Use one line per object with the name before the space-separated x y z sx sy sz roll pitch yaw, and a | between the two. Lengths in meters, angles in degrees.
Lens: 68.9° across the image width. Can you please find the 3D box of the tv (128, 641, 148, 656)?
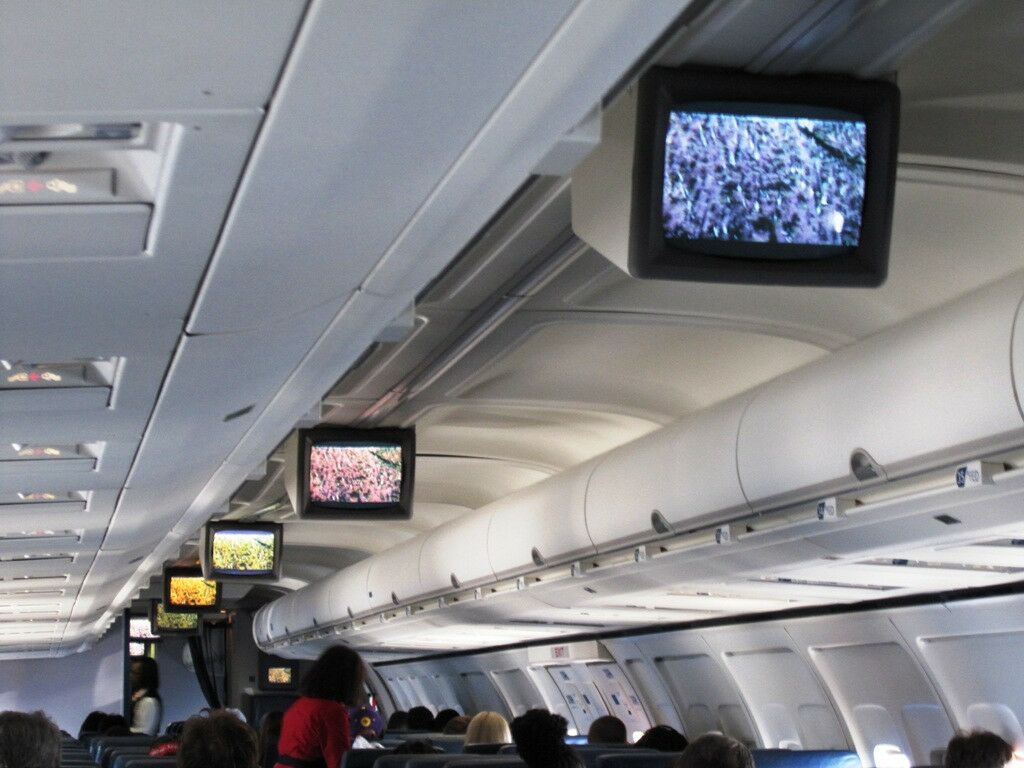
tv | -12.358 8.688 24.645 0.689 0.593 0.346 2 -3 -12

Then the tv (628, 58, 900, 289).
tv | 0.868 -0.709 2.600 0.879 0.633 0.456 3 4 -9
